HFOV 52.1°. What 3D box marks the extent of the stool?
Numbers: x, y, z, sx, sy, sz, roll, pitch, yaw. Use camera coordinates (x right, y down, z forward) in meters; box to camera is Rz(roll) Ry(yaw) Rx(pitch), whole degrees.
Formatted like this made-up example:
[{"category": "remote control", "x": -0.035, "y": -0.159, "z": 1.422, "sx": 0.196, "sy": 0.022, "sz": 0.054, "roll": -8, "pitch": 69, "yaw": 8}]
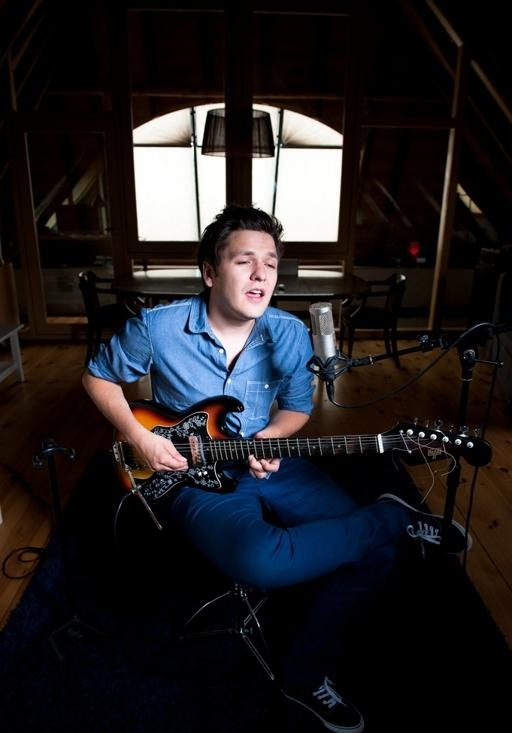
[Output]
[{"category": "stool", "x": -0.068, "y": 0.662, "z": 1.404, "sx": 0.236, "sy": 0.265, "sz": 0.187, "roll": 14, "pitch": 12, "yaw": 35}]
